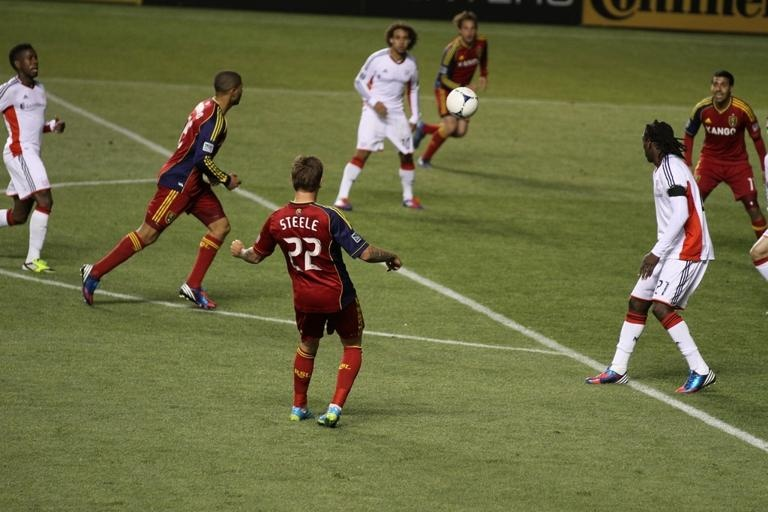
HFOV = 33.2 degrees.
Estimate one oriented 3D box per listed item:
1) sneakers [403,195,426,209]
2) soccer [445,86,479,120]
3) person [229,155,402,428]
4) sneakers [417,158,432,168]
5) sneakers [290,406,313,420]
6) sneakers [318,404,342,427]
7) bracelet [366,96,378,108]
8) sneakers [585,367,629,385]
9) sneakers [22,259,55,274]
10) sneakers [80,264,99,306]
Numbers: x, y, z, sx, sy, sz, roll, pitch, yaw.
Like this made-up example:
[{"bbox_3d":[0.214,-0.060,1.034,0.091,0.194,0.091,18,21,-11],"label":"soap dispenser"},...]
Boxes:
[{"bbox_3d":[0.410,-0.734,18.146,0.122,0.126,0.346,-5,8,-34],"label":"sneakers"},{"bbox_3d":[1.045,-2.024,17.048,0.439,0.386,0.412,3,15,9],"label":"soccer"},{"bbox_3d":[-0.637,0.345,12.907,1.398,2.618,0.786,6,14,1],"label":"person"},{"bbox_3d":[0.564,-1.284,18.000,0.099,0.094,0.257,-1,5,-18],"label":"sneakers"},{"bbox_3d":[-0.843,1.600,12.965,0.091,0.104,0.250,9,-5,36],"label":"sneakers"},{"bbox_3d":[-0.527,1.610,12.833,0.130,0.153,0.342,30,-12,-8],"label":"sneakers"},{"bbox_3d":[-0.171,-2.134,17.858,0.158,0.101,0.147,4,-1,-5],"label":"bracelet"},{"bbox_3d":[2.394,1.310,13.876,0.526,0.190,0.165,1,0,-2],"label":"sneakers"},{"bbox_3d":[-4.223,0.144,15.816,0.383,0.144,0.156,0,6,-1],"label":"sneakers"},{"bbox_3d":[-3.418,0.336,15.003,0.185,0.483,0.255,3,14,-12],"label":"sneakers"}]
